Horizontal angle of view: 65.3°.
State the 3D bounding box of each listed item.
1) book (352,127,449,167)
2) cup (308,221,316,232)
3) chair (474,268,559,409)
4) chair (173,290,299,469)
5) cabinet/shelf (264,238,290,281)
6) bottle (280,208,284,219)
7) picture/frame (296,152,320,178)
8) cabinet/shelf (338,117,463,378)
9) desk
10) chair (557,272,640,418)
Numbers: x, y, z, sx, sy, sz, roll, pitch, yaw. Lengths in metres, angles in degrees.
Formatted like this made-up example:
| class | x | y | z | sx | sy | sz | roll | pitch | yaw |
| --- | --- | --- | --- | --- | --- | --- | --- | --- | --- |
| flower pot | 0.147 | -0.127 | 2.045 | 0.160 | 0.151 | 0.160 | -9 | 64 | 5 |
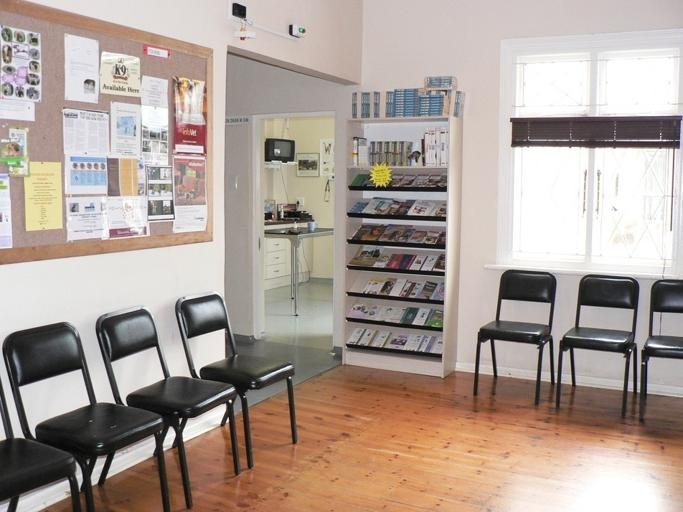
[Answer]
| class | x | y | z | sx | sy | sz | roll | pitch | yaw |
| --- | --- | --- | --- | --- | --- | --- | --- | --- | --- |
| book | 0.574 | -1.084 | 5.385 | 0.989 | 0.370 | 0.496 | 2 | 10 | 11 |
| cup | -0.485 | -0.435 | 7.994 | 0.111 | 0.129 | 0.180 | -1 | -3 | 17 |
| chair | 1.623 | 0.698 | 4.962 | 0.718 | 1.081 | 0.842 | 4 | 10 | 23 |
| chair | -0.759 | 0.853 | 3.826 | 0.706 | 1.089 | 0.561 | 5 | 6 | 27 |
| cabinet/shelf | -1.282 | 0.014 | 9.438 | 0.534 | 0.698 | 0.486 | -4 | 12 | -28 |
| bottle | -0.989 | -0.692 | 8.776 | 0.061 | 0.165 | 0.125 | 3 | -2 | 1 |
| picture/frame | -0.608 | -1.667 | 9.686 | 0.438 | 0.445 | 0.044 | 3 | 6 | 26 |
| cabinet/shelf | 0.603 | -0.113 | 5.458 | 1.193 | 2.527 | 0.716 | 2 | 10 | 12 |
| desk | -0.721 | 0.107 | 8.073 | 0.965 | 1.239 | 1.449 | 3 | 10 | 18 |
| chair | 2.265 | 0.736 | 4.677 | 0.634 | 1.068 | 0.901 | 5 | 11 | 30 |
